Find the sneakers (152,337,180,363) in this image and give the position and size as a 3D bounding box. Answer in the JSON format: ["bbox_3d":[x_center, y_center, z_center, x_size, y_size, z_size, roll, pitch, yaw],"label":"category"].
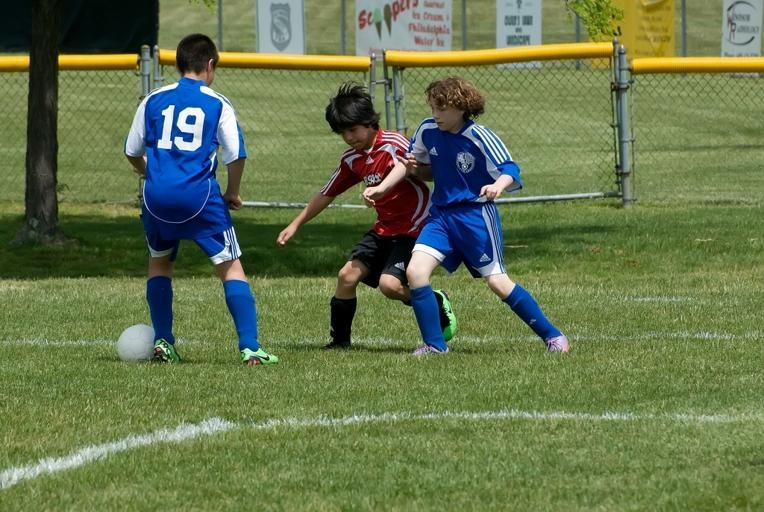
[{"bbox_3d":[-1.923,0.869,11.585,0.124,0.302,0.142,-13,24,7],"label":"sneakers"}]

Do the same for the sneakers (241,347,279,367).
[{"bbox_3d":[-1.093,0.897,11.406,0.361,0.166,0.129,0,2,-16],"label":"sneakers"}]

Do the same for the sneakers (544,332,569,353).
[{"bbox_3d":[1.580,0.805,11.774,0.207,0.200,0.124,2,-7,-8],"label":"sneakers"}]

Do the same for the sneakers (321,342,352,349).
[{"bbox_3d":[-0.425,0.838,11.986,0.237,0.098,0.086,5,-4,-6],"label":"sneakers"}]
